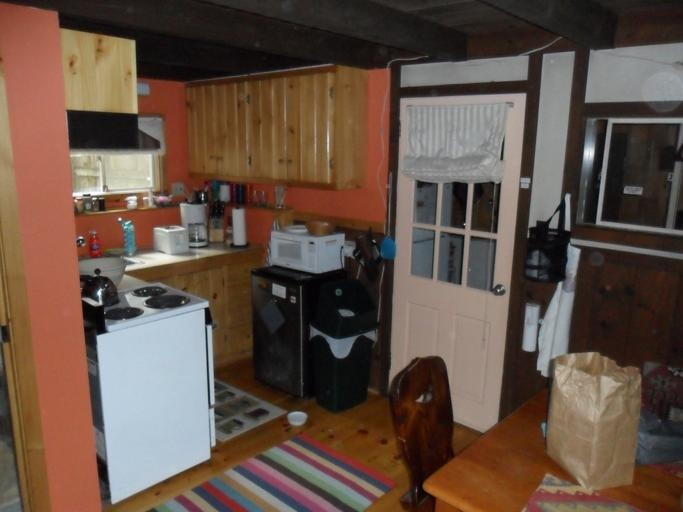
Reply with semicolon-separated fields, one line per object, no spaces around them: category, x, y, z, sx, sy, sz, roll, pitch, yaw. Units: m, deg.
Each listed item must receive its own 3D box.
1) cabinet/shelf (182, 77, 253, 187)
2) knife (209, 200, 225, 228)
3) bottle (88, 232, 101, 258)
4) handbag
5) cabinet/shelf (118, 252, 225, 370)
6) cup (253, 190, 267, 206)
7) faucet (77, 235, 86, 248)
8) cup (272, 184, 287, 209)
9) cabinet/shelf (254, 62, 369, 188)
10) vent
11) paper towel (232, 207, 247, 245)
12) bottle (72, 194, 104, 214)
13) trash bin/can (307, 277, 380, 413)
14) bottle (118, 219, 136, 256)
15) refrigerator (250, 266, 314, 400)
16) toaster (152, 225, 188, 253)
cabinet/shelf;-1.169;-1.227;5.178;0.866;0.867;0.305;8;13;37
knife;-1.208;-0.428;5.367;0.136;0.262;0.204;7;13;27
bottle;-2.199;-0.113;4.807;0.106;0.211;0.224;-5;13;-25
handbag;1.309;-0.109;3.444;0.260;0.528;0.237;0;21;9
cabinet/shelf;-1.442;0.252;4.977;0.612;1.155;1.148;12;15;35
cup;-0.803;-0.576;5.301;0.183;0.146;0.061;11;16;42
faucet;-2.254;-0.117;4.686;0.064;0.122;0.297;-5;13;-25
cup;-0.600;-0.561;5.116;0.089;0.209;0.203;-7;14;-34
cabinet/shelf;-0.435;-1.126;4.751;1.163;1.066;0.453;6;9;29
vent;-1.364;-0.725;3.158;0.130;0.226;0.436;10;15;38
paper towel;-0.985;-0.289;5.206;0.136;0.356;0.235;-2;12;-13
bottle;-2.266;-0.475;4.863;0.245;0.159;0.161;-6;13;-29
trash bin/can;0.011;0.700;4.436;0.456;1.021;0.384;-9;15;-41
bottle;-1.969;-0.187;4.997;0.140;0.300;0.323;-4;13;-22
refrigerator;-0.437;0.624;4.757;0.688;0.979;0.541;10;13;43
toaster;-1.587;-0.152;5.054;0.259;0.243;0.257;6;9;34
